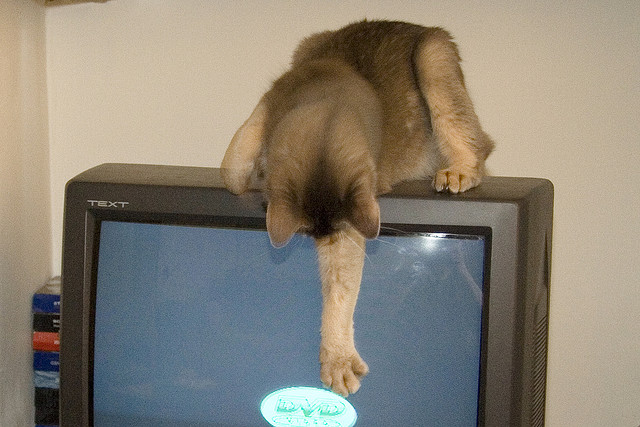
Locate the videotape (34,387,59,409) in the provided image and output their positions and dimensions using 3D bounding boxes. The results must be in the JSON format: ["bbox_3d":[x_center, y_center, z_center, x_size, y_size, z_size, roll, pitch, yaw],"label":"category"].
[{"bbox_3d":[-0.895,0.602,2.347,0.077,0.064,0.043,6,-14,-11],"label":"videotape"}]

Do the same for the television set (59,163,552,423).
[{"bbox_3d":[-0.080,0.195,2.173,1.173,1.014,0.689,2,-2,7],"label":"television set"}]

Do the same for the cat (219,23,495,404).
[{"bbox_3d":[0.103,-0.174,2.138,0.603,0.337,0.982,-14,-12,-30],"label":"cat"}]

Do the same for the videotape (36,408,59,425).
[{"bbox_3d":[-0.893,0.665,2.354,0.085,0.064,0.049,2,-7,-2],"label":"videotape"}]

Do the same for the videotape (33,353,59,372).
[{"bbox_3d":[-0.887,0.482,2.325,0.092,0.069,0.053,3,-2,-2],"label":"videotape"}]

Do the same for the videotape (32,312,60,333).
[{"bbox_3d":[-0.894,0.351,2.321,0.108,0.064,0.034,-1,-14,15],"label":"videotape"}]

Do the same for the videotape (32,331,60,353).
[{"bbox_3d":[-0.880,0.413,2.314,0.071,0.049,0.041,6,-24,-1],"label":"videotape"}]
